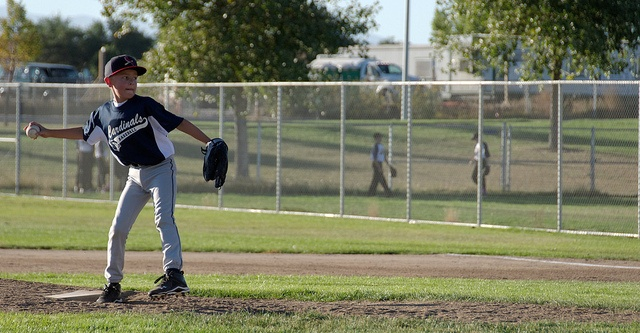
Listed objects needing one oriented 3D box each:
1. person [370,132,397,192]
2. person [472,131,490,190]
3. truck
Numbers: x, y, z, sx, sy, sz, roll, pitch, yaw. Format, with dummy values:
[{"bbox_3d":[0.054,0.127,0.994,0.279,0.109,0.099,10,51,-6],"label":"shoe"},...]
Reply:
[{"bbox_3d":[2.349,-0.264,50.331,0.876,2.141,0.742,-2,0,40],"label":"person"},{"bbox_3d":[5.663,-0.216,49.480,0.645,2.009,0.255,1,0,2],"label":"person"},{"bbox_3d":[1.988,-3.915,62.463,4.625,2.006,2.576,-1,9,-4],"label":"truck"}]
